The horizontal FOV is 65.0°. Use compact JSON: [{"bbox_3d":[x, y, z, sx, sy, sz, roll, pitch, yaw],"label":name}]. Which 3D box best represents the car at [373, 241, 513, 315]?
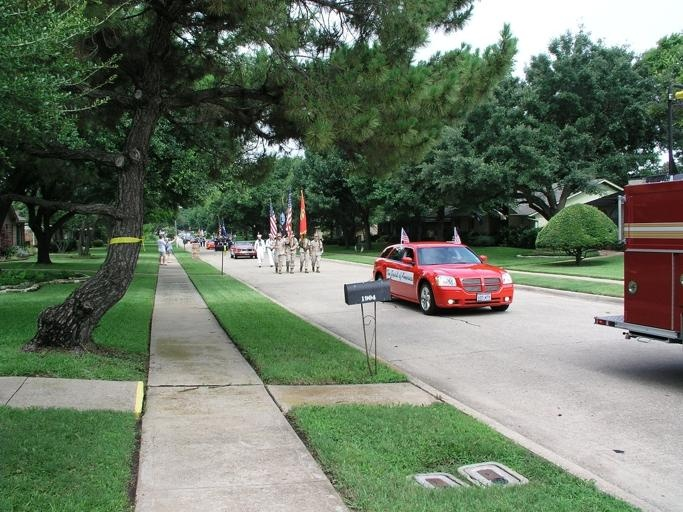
[{"bbox_3d":[2.552,0.602,15.814,1.918,1.519,4.362,0,-1,-23],"label":"car"}]
